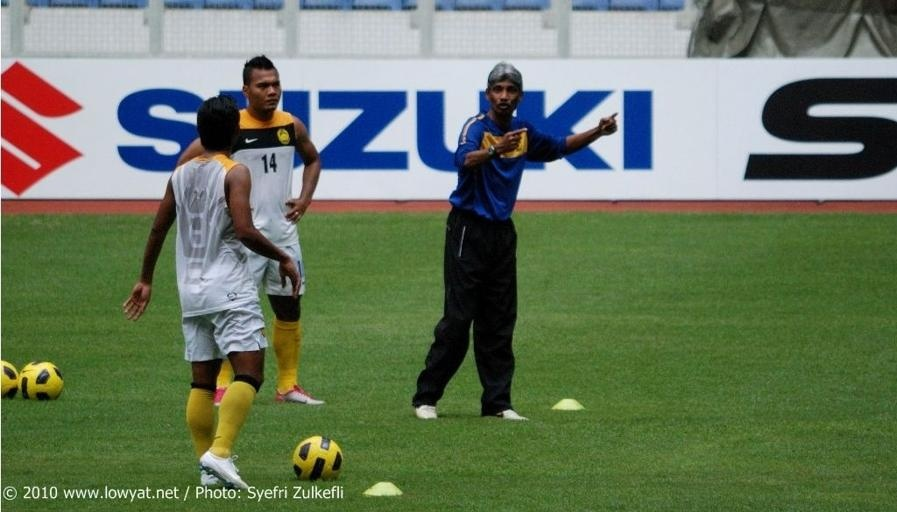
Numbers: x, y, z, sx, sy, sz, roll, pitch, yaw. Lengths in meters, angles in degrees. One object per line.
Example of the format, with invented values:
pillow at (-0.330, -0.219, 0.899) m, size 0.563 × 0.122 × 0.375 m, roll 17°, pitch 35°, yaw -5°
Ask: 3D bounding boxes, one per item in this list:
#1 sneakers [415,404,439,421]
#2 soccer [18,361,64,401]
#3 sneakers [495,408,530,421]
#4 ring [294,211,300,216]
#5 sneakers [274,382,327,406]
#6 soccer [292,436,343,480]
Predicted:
sneakers at (-0.272, 1.923, 20.613) m, size 0.268 × 0.098 × 0.146 m, roll -1°, pitch 7°, yaw 29°
soccer at (-5.083, 1.623, 21.100) m, size 0.688 × 0.606 × 0.642 m, roll -2°, pitch 4°, yaw -14°
sneakers at (0.767, 1.933, 20.563) m, size 0.311 × 0.109 × 0.177 m, roll -1°, pitch 0°, yaw 9°
ring at (-1.890, -0.513, 20.806) m, size 0.058 × 0.028 × 0.031 m, roll -12°, pitch 43°, yaw -21°
sneakers at (-1.856, 1.765, 21.059) m, size 0.686 × 0.252 × 0.234 m, roll 1°, pitch -1°, yaw 2°
soccer at (-1.514, 2.356, 19.529) m, size 0.566 × 0.500 × 0.504 m, roll 5°, pitch 27°, yaw -6°
